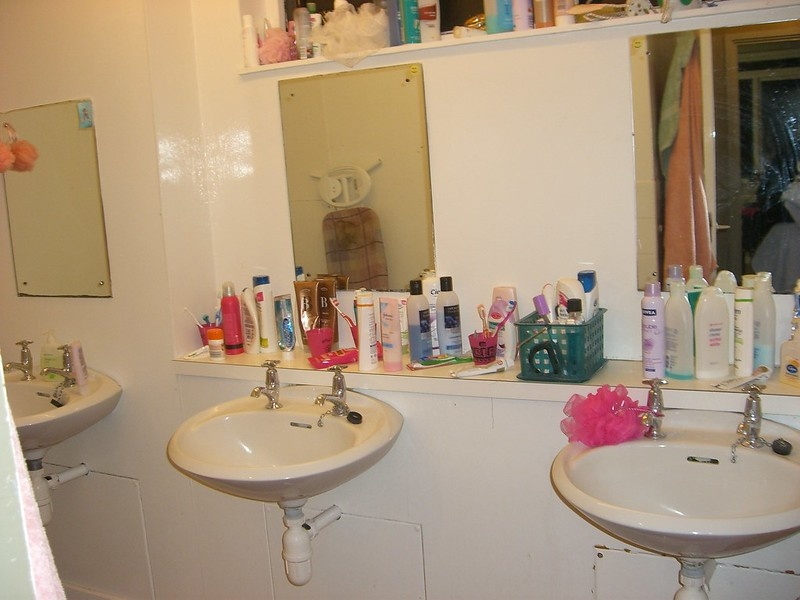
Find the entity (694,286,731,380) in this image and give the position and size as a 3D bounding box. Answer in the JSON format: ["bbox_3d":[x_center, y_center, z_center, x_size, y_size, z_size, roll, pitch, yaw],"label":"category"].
[{"bbox_3d":[0.796,0.085,1.798,0.085,0.233,0.068,-3,11,20],"label":"entity"}]

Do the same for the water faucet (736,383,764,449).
[{"bbox_3d":[0.842,0.264,1.684,0.061,0.150,0.112,-2,11,27],"label":"water faucet"}]

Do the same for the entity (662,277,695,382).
[{"bbox_3d":[0.721,0.074,1.824,0.072,0.260,0.059,-3,11,19],"label":"entity"}]

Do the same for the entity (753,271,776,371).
[{"bbox_3d":[0.929,0.059,1.831,0.085,0.297,0.048,10,49,36],"label":"entity"}]

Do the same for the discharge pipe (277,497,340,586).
[{"bbox_3d":[-0.260,0.677,2.068,0.093,0.255,0.278,2,5,26],"label":"discharge pipe"}]

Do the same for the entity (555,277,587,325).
[{"bbox_3d":[0.454,0.004,1.858,0.057,0.146,0.108,-9,12,-33],"label":"entity"}]

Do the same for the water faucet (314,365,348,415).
[{"bbox_3d":[-0.201,0.249,2.015,0.090,0.139,0.195,-7,9,-2],"label":"water faucet"}]

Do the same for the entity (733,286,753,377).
[{"bbox_3d":[0.873,0.078,1.785,0.048,0.223,0.073,-2,11,25],"label":"entity"}]

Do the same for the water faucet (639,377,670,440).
[{"bbox_3d":[0.625,0.266,1.738,0.072,0.142,0.060,0,-4,41],"label":"water faucet"}]

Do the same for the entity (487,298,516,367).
[{"bbox_3d":[0.295,0.082,2.021,0.077,0.172,0.070,-7,10,-1],"label":"entity"}]

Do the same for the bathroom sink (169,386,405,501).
[{"bbox_3d":[-0.324,0.425,1.940,0.591,0.260,0.476,-2,10,22],"label":"bathroom sink"}]

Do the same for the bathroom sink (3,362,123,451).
[{"bbox_3d":[-1.131,0.369,2.351,0.370,0.171,0.384,3,23,7],"label":"bathroom sink"}]

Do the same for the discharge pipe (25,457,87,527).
[{"bbox_3d":[-1.161,0.609,2.353,0.099,0.227,0.246,3,8,24],"label":"discharge pipe"}]

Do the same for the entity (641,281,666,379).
[{"bbox_3d":[0.668,0.074,1.858,0.063,0.246,0.121,-3,10,18],"label":"entity"}]
